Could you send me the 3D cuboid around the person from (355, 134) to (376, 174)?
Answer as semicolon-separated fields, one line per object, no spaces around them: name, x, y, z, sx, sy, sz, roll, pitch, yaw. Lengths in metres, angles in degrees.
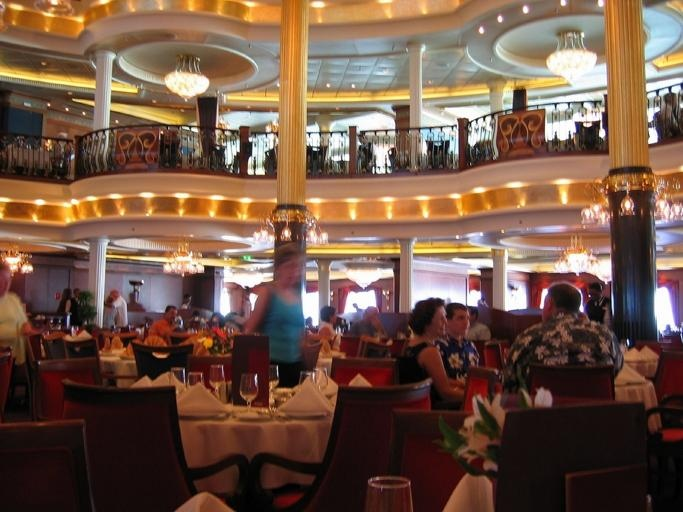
person;0.508;-2.209;12.461;0.367;0.298;1.187;-15;-34;-9

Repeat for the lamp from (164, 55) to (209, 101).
lamp;-3.286;-3.715;12.570;0.903;0.928;0.866;2;2;14

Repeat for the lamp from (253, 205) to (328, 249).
lamp;-0.868;-0.444;8.362;0.835;0.437;0.901;1;-4;2

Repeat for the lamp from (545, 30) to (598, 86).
lamp;4.474;-3.897;11.535;0.832;1.154;0.898;-1;-7;8
